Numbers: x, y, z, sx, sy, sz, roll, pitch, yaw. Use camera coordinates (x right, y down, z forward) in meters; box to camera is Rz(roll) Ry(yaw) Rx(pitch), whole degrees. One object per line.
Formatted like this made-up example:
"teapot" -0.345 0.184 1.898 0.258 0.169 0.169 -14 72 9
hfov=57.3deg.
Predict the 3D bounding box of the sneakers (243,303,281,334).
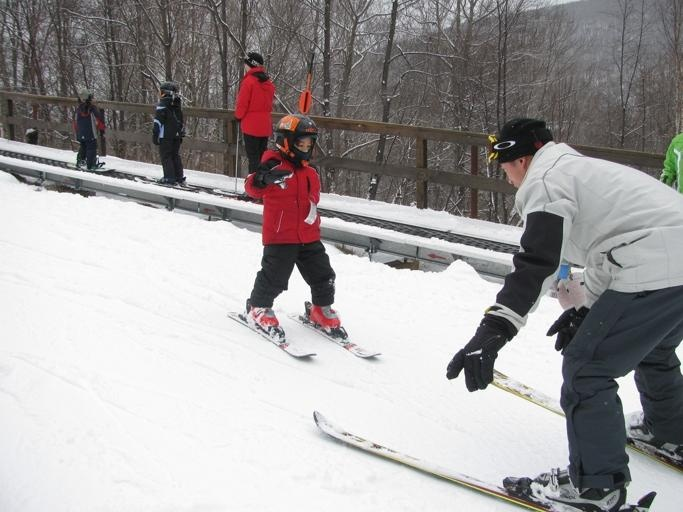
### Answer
"sneakers" -0.647 0.510 5.174 0.143 0.160 0.392 -1 20 -46

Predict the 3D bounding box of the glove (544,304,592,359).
"glove" 1.301 0.436 3.566 0.087 0.272 0.211 13 25 -35

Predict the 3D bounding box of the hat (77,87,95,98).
"hat" -4.172 -2.669 10.253 0.159 0.160 0.378 -5 18 -29

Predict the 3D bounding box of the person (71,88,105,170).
"person" -4.244 -2.152 10.568 0.475 1.338 1.218 -3 17 -22

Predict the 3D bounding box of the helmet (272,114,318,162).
"helmet" -0.375 -0.970 5.121 0.321 0.396 0.381 -3 13 -40

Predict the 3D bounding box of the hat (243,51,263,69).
"hat" -1.189 -2.707 8.509 0.264 0.242 0.199 -19 2 -42

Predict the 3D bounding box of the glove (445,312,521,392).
"glove" 0.781 0.474 3.404 0.303 0.458 0.183 34 7 16

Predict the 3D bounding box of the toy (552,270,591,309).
"toy" 1.414 0.212 3.775 0.158 0.203 0.216 -8 2 -4

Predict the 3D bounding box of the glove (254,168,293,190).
"glove" -0.548 -0.607 4.907 0.213 0.098 0.168 0 11 1

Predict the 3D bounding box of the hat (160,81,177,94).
"hat" -2.547 -2.509 9.274 0.189 0.110 0.210 6 14 12

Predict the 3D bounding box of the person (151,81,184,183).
"person" -2.610 -1.868 9.497 0.453 1.514 0.664 0 15 -14

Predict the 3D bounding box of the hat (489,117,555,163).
"hat" 0.988 -0.656 3.515 0.324 0.205 0.244 -18 17 29

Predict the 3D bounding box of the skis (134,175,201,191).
"skis" -2.657 -1.109 9.466 1.146 0.061 0.170 13 42 10

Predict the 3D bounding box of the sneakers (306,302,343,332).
"sneakers" -0.164 0.530 5.337 0.323 0.182 0.088 26 44 36
